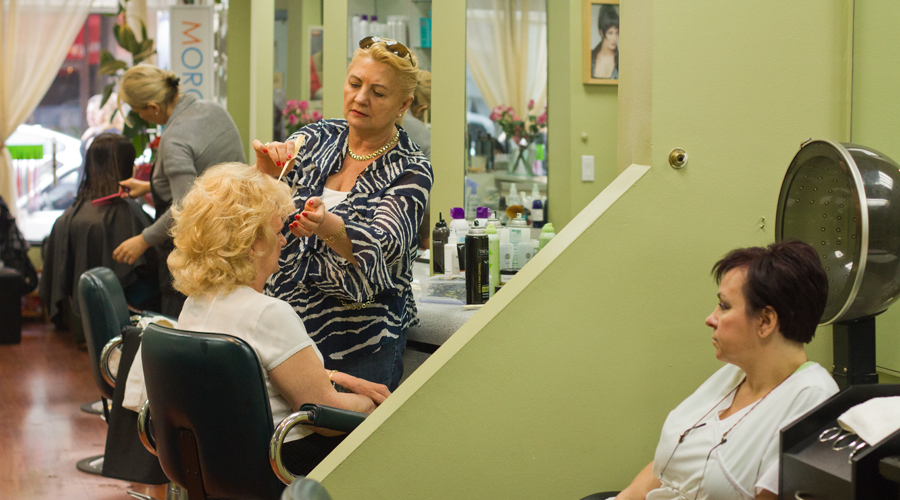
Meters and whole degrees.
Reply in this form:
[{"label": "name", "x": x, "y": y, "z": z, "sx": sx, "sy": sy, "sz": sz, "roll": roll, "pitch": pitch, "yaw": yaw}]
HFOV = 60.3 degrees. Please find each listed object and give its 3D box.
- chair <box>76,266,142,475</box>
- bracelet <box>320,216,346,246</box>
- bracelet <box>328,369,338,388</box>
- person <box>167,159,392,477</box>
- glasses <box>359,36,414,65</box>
[{"label": "chair", "x": -1.851, "y": 0.535, "z": 4.138, "sx": 0.258, "sy": 0.842, "sz": 0.454, "roll": 3, "pitch": 7, "yaw": -24}, {"label": "bracelet", "x": -0.483, "y": -0.077, "z": 3.238, "sx": 0.063, "sy": 0.113, "sz": 0.089, "roll": 0, "pitch": 19, "yaw": -23}, {"label": "bracelet", "x": -0.485, "y": 0.540, "z": 3.290, "sx": 0.027, "sy": 0.071, "sz": 0.059, "roll": -19, "pitch": -12, "yaw": -4}, {"label": "person", "x": -0.727, "y": 0.294, "z": 3.334, "sx": 0.833, "sy": 1.144, "sz": 0.956, "roll": -1, "pitch": -5, "yaw": 12}, {"label": "glasses", "x": -0.272, "y": -0.899, "z": 3.478, "sx": 0.257, "sy": 0.119, "sz": 0.171, "roll": 6, "pitch": 6, "yaw": -8}]
